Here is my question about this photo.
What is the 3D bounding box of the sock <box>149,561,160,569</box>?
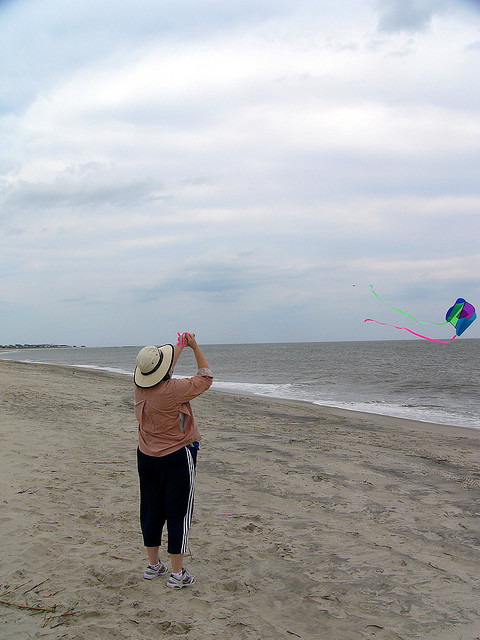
[{"bbox_3d":[-0.664,1.905,4.626,0.052,0.057,0.037,-4,30,-10],"label":"sock"}]

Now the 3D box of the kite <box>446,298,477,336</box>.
[{"bbox_3d":[2.545,-0.022,6.975,0.276,0.423,0.331,4,6,15],"label":"kite"}]

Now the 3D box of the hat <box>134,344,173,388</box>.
[{"bbox_3d":[-0.621,0.334,4.395,0.240,0.333,0.238,-5,7,-30],"label":"hat"}]
